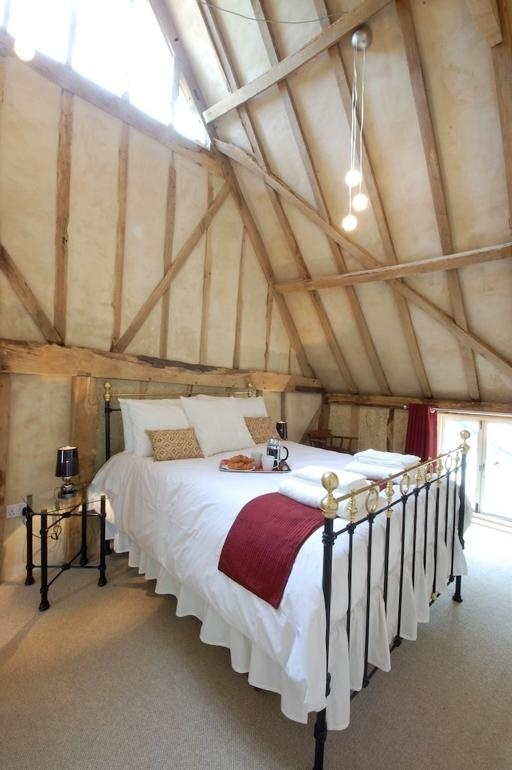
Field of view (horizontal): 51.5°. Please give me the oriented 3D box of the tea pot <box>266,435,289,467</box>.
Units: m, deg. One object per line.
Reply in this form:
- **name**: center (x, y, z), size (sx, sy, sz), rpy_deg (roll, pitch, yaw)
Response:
- **tea pot**: center (0.120, 0.423, 3.310), size (0.175, 0.198, 0.100), rpy_deg (6, 7, 36)

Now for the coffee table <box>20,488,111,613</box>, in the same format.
- **coffee table**: center (-1.136, 0.931, 3.293), size (0.516, 0.716, 0.544), rpy_deg (3, 4, 38)

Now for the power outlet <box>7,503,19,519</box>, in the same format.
- **power outlet**: center (-1.479, 0.761, 3.212), size (0.009, 0.100, 0.092), rpy_deg (-4, 0, 34)

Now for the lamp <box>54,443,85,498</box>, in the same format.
- **lamp**: center (-1.182, 0.518, 3.308), size (0.123, 0.345, 0.379), rpy_deg (-2, 10, -21)

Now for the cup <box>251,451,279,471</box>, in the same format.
- **cup**: center (0.052, 0.455, 3.138), size (0.081, 0.092, 0.122), rpy_deg (2, -5, -11)

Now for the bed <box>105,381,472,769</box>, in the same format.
- **bed**: center (0.034, 0.614, 2.866), size (1.211, 1.143, 1.716), rpy_deg (-4, 7, -41)
